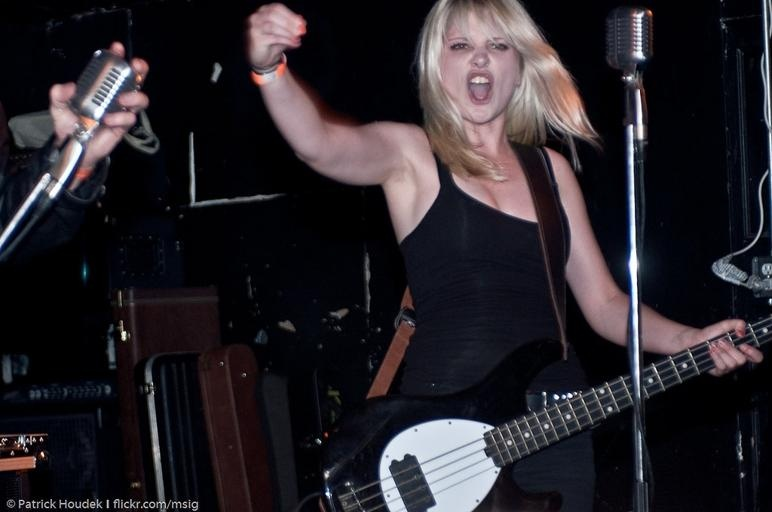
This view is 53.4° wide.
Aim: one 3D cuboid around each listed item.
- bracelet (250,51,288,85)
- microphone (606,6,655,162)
[{"bbox_3d":[-0.410,-0.651,2.699,0.126,0.111,0.100,-6,0,-2],"label":"bracelet"},{"bbox_3d":[0.894,-0.649,2.776,0.166,0.501,0.193,-6,0,14],"label":"microphone"}]
